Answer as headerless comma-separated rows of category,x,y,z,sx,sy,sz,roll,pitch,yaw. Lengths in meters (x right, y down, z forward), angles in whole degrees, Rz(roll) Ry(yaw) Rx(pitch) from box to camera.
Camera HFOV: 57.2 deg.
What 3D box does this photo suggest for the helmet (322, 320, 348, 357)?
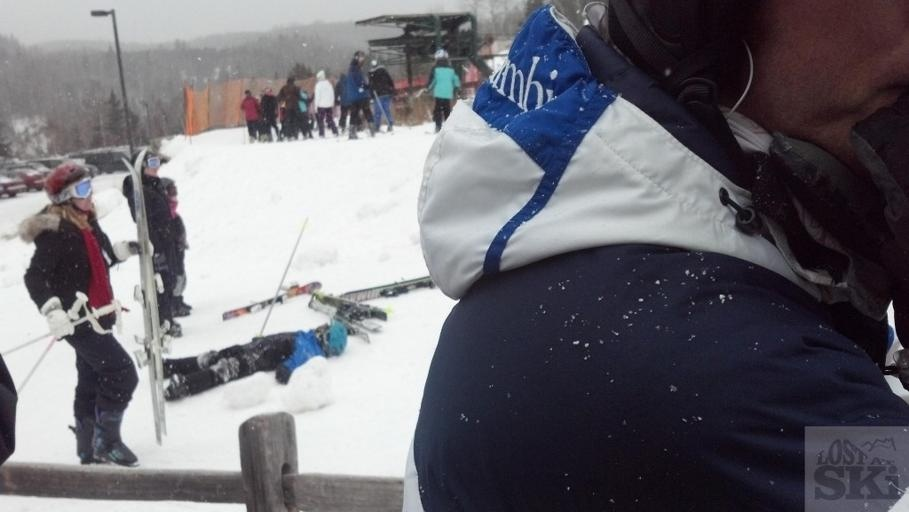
helmet,-1.989,1.394,14.054,0.432,0.552,0.407,7,18,-7
